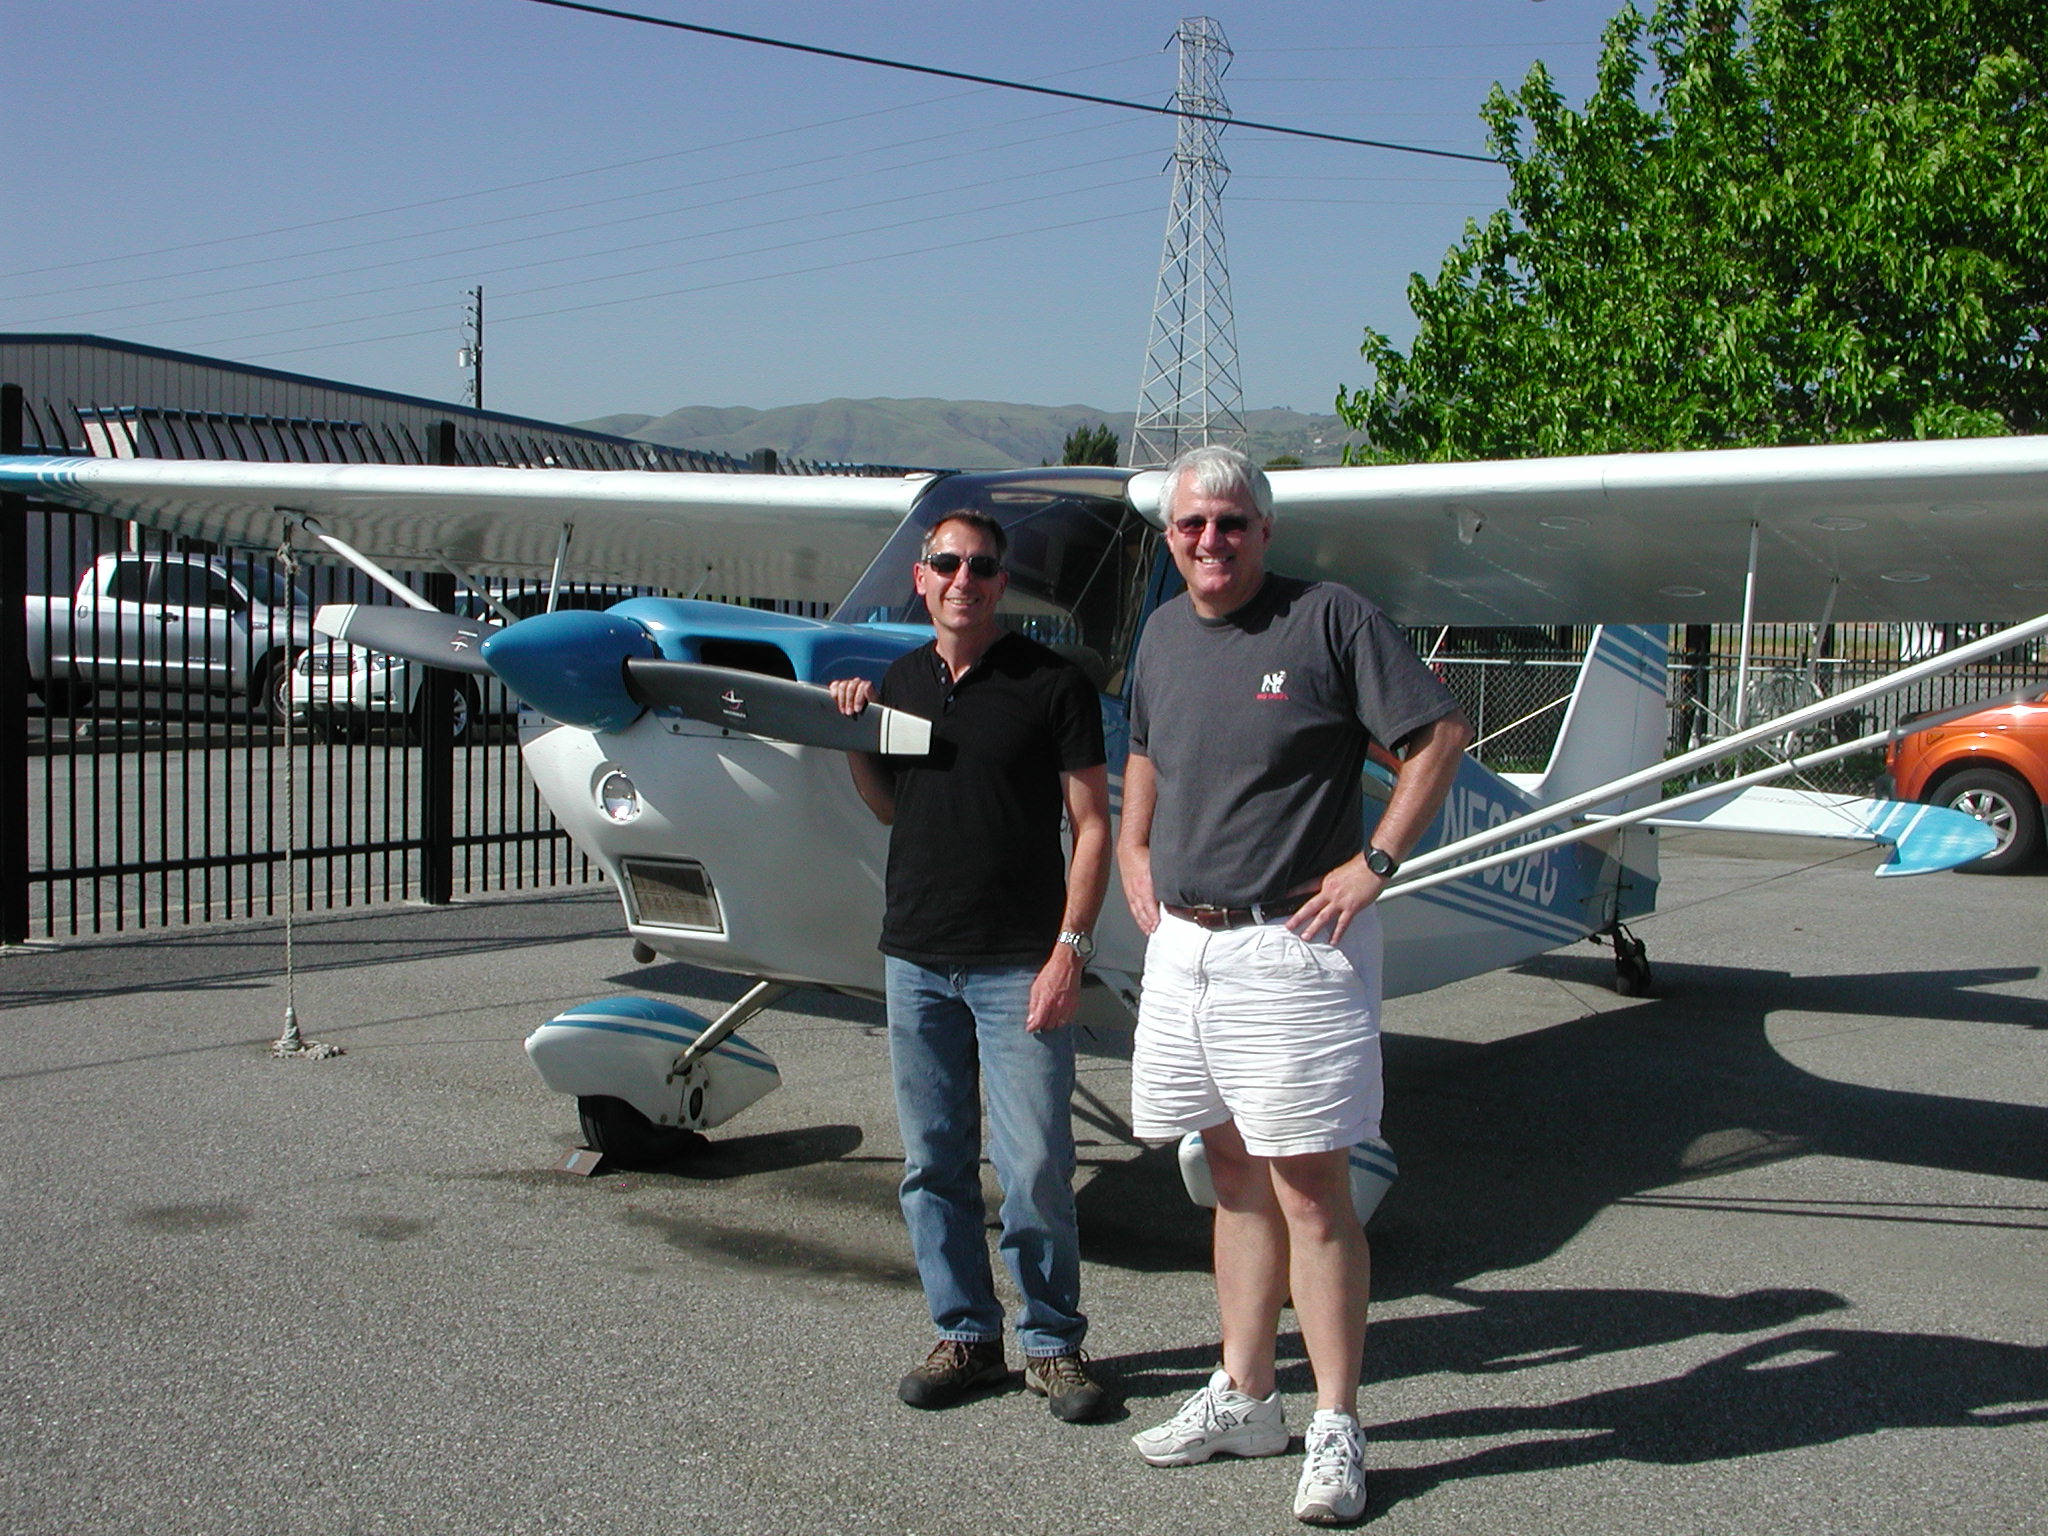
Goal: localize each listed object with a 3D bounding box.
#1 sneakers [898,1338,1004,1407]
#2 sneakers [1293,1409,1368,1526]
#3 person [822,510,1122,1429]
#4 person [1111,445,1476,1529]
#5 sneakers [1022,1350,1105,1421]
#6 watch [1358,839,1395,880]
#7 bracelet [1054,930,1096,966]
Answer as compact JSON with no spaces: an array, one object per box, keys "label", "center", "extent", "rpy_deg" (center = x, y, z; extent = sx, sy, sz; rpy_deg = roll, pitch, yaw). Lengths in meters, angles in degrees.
[{"label":"sneakers","center":[-0.183,1.555,4.742],"extent":[0.116,0.137,0.322],"rpy_deg":[1,-8,44]},{"label":"sneakers","center":[0.711,1.637,4.269],"extent":[0.133,0.129,0.311],"rpy_deg":[-2,-8,11]},{"label":"person","center":[-0.072,0.484,4.757],"extent":[0.598,2.263,0.588],"rpy_deg":[2,9,-1]},{"label":"person","center":[0.583,0.496,4.370],"extent":[0.771,2.473,0.493],"rpy_deg":[5,9,19]},{"label":"sneakers","center":[0.106,1.571,4.705],"extent":[0.216,0.136,0.145],"rpy_deg":[2,8,5]},{"label":"watch","center":[0.821,0.211,4.241],"extent":[0.061,0.076,0.038],"rpy_deg":[7,24,39]},{"label":"bracelet","center":[0.132,0.440,4.623],"extent":[0.102,0.060,0.092],"rpy_deg":[21,-1,-39]}]
